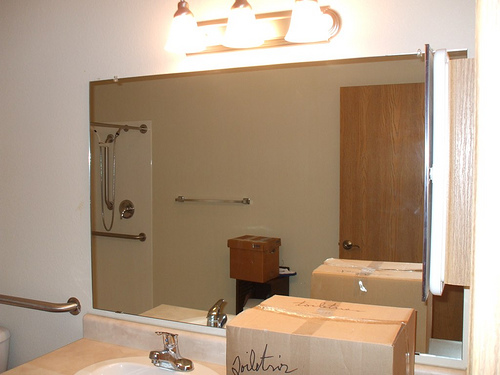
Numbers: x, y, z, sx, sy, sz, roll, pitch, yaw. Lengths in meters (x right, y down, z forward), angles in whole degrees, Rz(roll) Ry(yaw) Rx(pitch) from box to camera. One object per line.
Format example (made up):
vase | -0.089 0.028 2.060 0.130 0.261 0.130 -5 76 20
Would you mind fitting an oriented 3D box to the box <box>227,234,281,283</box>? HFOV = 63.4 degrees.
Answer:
box | 0.015 0.268 1.545 0.179 0.153 0.109 0 5 39
